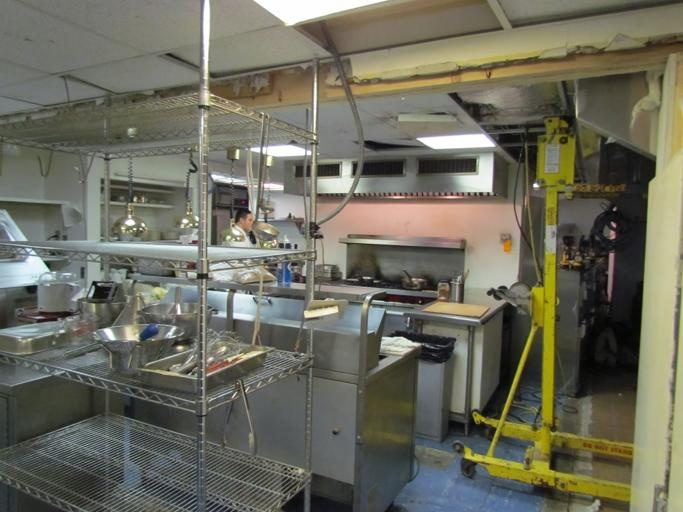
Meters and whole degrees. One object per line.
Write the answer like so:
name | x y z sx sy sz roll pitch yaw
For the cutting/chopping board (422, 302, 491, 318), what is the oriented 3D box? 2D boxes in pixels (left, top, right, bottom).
cutting/chopping board | 0.997 0.452 4.863 0.522 0.040 0.655 2 3 21

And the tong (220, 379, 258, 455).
tong | -0.518 0.819 2.819 0.200 0.331 0.049 5 13 14

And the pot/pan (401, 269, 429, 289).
pot/pan | 0.763 0.260 6.115 0.251 0.146 0.201 -2 -2 42

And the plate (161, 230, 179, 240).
plate | -1.446 -0.178 4.727 0.130 0.048 0.121 -2 4 -23

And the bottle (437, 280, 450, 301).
bottle | 0.995 0.343 5.417 0.175 0.251 0.171 0 0 0

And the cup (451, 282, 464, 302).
cup | 1.077 0.332 5.239 0.102 0.185 0.108 1 4 0

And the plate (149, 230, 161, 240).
plate | -1.692 -0.191 5.086 0.134 0.068 0.122 0 -1 -11

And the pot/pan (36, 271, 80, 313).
pot/pan | -1.925 0.257 3.931 0.376 0.274 0.275 1 -1 -25
